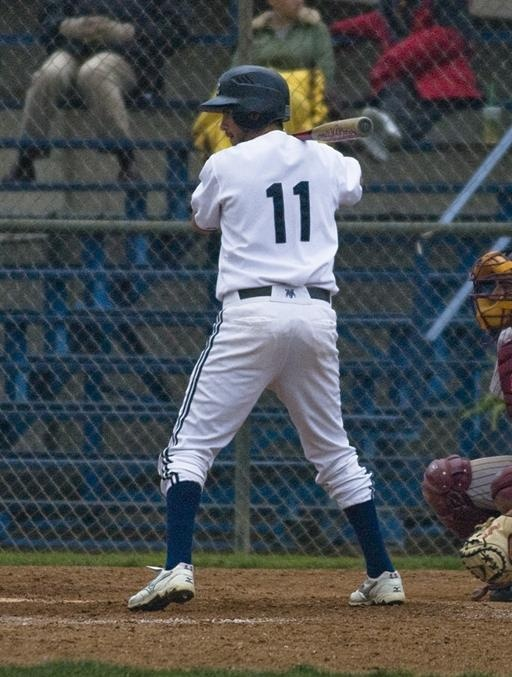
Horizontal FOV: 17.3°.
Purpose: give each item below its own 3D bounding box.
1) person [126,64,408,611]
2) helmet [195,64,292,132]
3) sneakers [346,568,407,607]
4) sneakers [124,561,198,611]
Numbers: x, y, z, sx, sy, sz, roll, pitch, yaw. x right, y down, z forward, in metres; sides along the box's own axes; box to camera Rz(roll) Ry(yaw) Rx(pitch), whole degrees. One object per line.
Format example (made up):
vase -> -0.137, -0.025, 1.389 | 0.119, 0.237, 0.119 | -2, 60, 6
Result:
person -> 0.036, 0.174, 6.300 | 0.850, 1.683, 1.120 | -4, 29, 4
helmet -> -0.035, -0.892, 6.262 | 0.326, 0.158, 0.220 | 3, 3, 2
sneakers -> 0.478, 0.954, 6.404 | 0.100, 0.099, 0.232 | 11, -16, -42
sneakers -> -0.326, 0.919, 6.173 | 0.319, 0.114, 0.151 | -31, 36, 21
